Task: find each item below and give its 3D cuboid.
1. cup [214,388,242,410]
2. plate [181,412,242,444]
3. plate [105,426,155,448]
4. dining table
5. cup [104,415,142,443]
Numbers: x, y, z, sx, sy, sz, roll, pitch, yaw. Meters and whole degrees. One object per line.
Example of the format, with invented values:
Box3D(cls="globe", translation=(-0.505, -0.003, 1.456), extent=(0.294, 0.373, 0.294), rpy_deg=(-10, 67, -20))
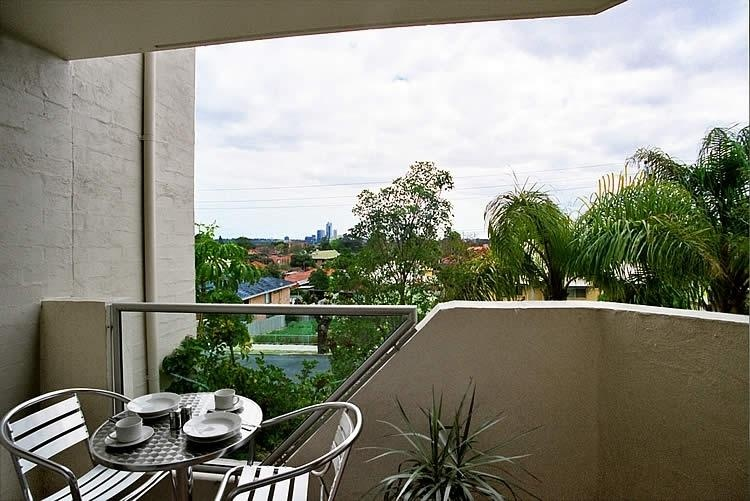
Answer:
Box3D(cls="cup", translation=(-0.821, 0.820, 2.876), extent=(0.133, 0.079, 0.100), rpy_deg=(1, 0, -19))
Box3D(cls="plate", translation=(-0.851, 0.918, 2.703), extent=(0.173, 0.038, 0.165), rpy_deg=(-2, 14, -25))
Box3D(cls="plate", translation=(-1.266, 0.964, 2.657), extent=(0.233, 0.081, 0.107), rpy_deg=(-2, -2, -2))
Box3D(cls="dining table", translation=(-0.988, 0.990, 2.668), extent=(0.661, 0.469, 0.651), rpy_deg=(2, 17, 2))
Box3D(cls="cup", translation=(-1.300, 0.922, 2.682), extent=(0.142, 0.098, 0.105), rpy_deg=(3, 16, -7))
